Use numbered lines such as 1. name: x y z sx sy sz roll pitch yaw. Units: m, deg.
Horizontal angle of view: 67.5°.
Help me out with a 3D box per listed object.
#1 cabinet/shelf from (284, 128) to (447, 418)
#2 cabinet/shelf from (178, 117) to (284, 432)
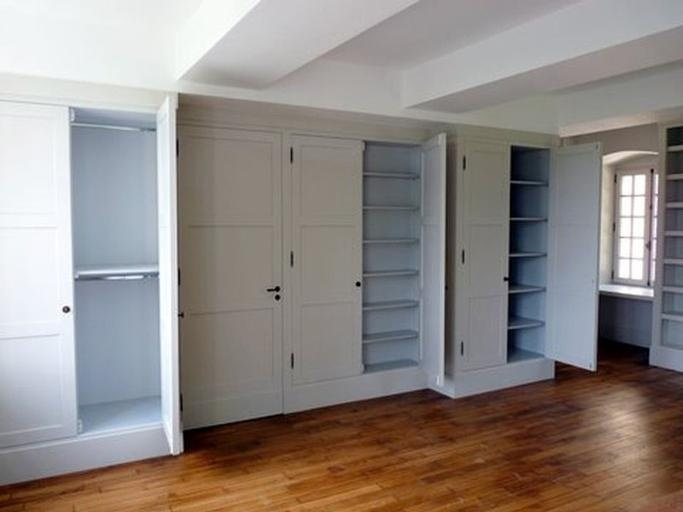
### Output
1. cabinet/shelf: 0.185 0.125 5.495 1.658 2.764 0.957 -2 10 -12
2. cabinet/shelf: -1.036 0.194 4.831 0.966 2.747 0.470 -2 10 -12
